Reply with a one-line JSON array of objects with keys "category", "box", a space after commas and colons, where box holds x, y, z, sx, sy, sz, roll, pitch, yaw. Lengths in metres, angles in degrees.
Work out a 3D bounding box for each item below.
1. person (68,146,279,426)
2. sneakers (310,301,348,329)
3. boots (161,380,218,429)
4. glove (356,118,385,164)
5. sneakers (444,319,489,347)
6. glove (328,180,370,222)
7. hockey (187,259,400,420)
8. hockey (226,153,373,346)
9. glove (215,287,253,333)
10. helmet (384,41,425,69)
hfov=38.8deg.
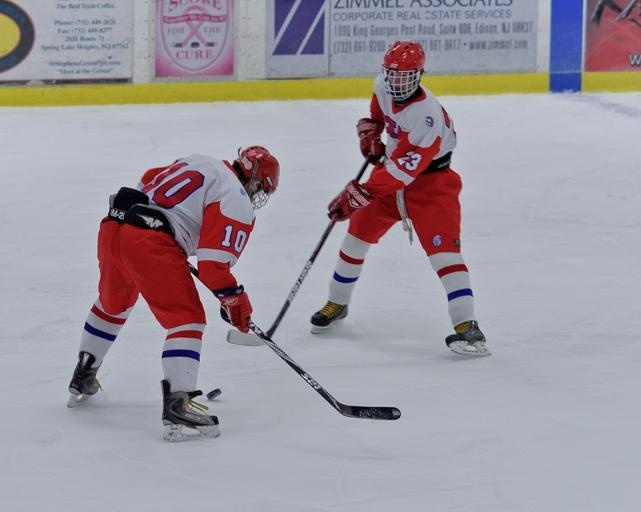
[{"category": "person", "box": [-0.615, 0.130, 3.915, 0.739, 1.110, 0.543, 12, 15, 31]}, {"category": "sneakers", "box": [0.037, 0.308, 4.892, 0.087, 0.094, 0.283, 22, 25, 33]}, {"category": "boots", "box": [-0.549, 0.611, 3.756, 0.215, 0.178, 0.140, 0, 13, -16]}, {"category": "glove", "box": [0.267, -0.627, 5.039, 0.188, 0.224, 0.111, 2, -10, 3]}, {"category": "sneakers", "box": [0.764, 0.378, 4.426, 0.278, 0.077, 0.160, -3, 39, 19]}, {"category": "glove", "box": [0.141, -0.282, 4.750, 0.262, 0.142, 0.105, -37, -11, 28]}, {"category": "hockey", "box": [-0.135, 0.429, 4.405, 1.252, 0.200, 0.105, 29, 22, 16]}, {"category": "hockey", "box": [-0.123, 0.010, 4.978, 1.522, 0.216, 0.180, -47, 38, -17]}, {"category": "glove", "box": [-0.373, 0.217, 3.949, 0.093, 0.200, 0.163, -44, 33, -24]}, {"category": "helmet", "box": [0.424, -1.023, 4.679, 0.202, 0.154, 0.237, 4, 11, 5]}]
